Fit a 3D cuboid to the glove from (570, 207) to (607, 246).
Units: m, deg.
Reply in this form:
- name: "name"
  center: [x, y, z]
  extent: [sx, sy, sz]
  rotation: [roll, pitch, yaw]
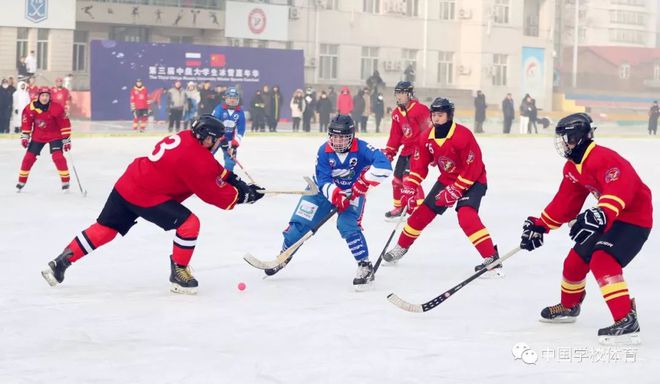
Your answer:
- name: "glove"
  center: [3.078, 0.408, 10.190]
  extent: [0.453, 0.323, 0.177]
  rotation: [-32, -25, 12]

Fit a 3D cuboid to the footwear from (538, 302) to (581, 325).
- name: "footwear"
  center: [2.852, 1.518, 10.571]
  extent: [0.580, 0.193, 0.241]
  rotation: [0, -3, 2]

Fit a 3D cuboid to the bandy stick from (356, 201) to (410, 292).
- name: "bandy stick"
  center: [0.751, 0.814, 12.048]
  extent: [0.195, 0.246, 1.686]
  rotation: [21, 45, 17]

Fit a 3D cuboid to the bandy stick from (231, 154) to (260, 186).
- name: "bandy stick"
  center: [-1.539, -0.385, 15.395]
  extent: [0.060, 0.182, 1.348]
  rotation: [25, -21, 30]

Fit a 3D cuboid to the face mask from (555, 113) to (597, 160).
- name: "face mask"
  center: [3.041, -0.678, 10.546]
  extent: [0.580, 0.518, 0.522]
  rotation: [-7, 1, 3]

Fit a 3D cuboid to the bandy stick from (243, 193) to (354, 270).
- name: "bandy stick"
  center: [-0.423, 0.598, 12.043]
  extent: [1.323, 0.277, 0.240]
  rotation: [-38, 22, -2]
